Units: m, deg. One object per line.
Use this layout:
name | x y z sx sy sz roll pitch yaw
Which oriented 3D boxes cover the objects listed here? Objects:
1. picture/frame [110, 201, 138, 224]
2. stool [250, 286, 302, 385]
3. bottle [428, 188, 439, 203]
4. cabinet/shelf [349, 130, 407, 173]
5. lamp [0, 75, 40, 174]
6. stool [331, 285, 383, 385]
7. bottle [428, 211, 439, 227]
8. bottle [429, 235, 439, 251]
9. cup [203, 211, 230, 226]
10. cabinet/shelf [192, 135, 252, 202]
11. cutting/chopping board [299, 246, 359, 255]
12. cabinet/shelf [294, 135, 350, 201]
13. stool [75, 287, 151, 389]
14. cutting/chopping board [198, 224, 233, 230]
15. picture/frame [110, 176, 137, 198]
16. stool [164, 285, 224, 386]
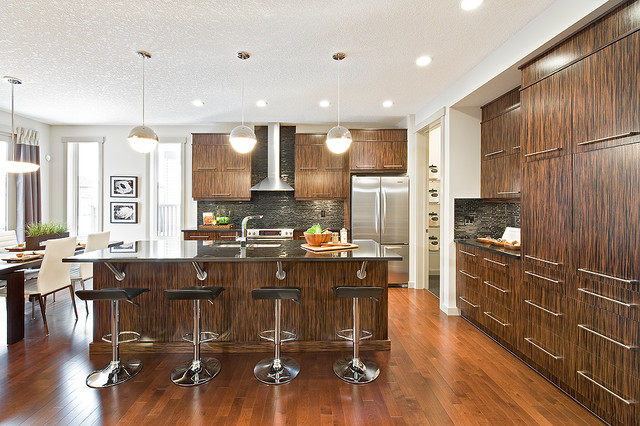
picture/frame | -3.621 -0.029 8.157 0.459 0.346 0.033 1 -2 -6
stool | -0.474 1.262 4.784 0.527 0.720 0.669 -3 1 -6
bottle | 1.949 -0.311 7.539 0.237 0.254 0.101 -3 1 -11
cabinet/shelf | 0.982 -1.017 7.943 1.356 0.971 0.657 0 -1 1
lamp | -4.531 -1.187 6.630 0.397 1.389 2.082 -4 1 -34
stool | 0.400 1.258 4.820 0.534 1.011 0.661 -3 1 2
bottle | 1.949 0.101 7.537 0.216 0.260 0.258 1 -6 -8
bottle | 1.992 0.521 7.668 0.211 0.279 0.143 -3 1 -4
cup | -1.856 0.093 7.915 0.489 0.181 0.388 -2 0 -11
cabinet/shelf | -1.688 -0.805 7.529 1.240 1.258 0.550 0 -1 -4
cutting/chopping board | 0.116 0.413 5.019 0.669 0.054 0.400 -2 0 0
cabinet/shelf | 0.041 -0.792 7.481 1.289 1.334 0.730 0 -1 -2
stool | -2.184 1.275 4.754 0.673 0.954 0.632 -3 1 -9
cutting/chopping board | -1.782 0.247 7.633 0.582 0.077 0.397 -2 0 -13
picture/frame | -3.610 -0.507 8.130 0.435 0.328 0.040 2 0 -2
stool | -1.327 1.272 4.769 0.573 0.841 0.653 -3 1 -13
